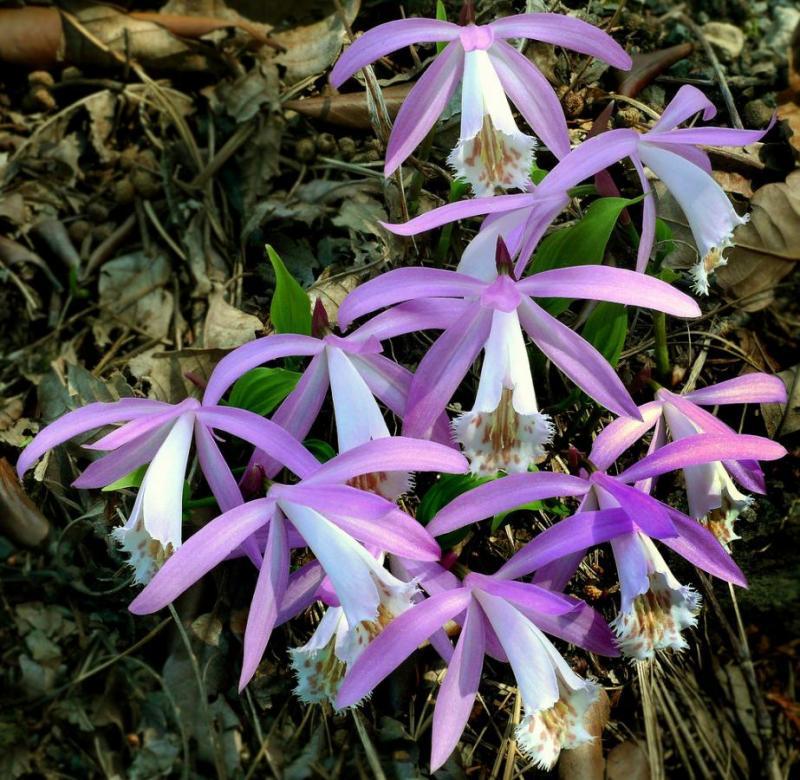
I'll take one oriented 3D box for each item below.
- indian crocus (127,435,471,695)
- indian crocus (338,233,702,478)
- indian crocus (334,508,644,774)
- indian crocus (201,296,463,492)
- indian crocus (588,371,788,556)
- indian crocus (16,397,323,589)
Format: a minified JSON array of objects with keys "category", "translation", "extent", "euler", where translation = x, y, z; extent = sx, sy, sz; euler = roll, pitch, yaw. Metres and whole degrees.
[{"category":"indian crocus","translation":[-0.215,0.332,1.946],"extent":[0.582,0.447,0.459],"euler":[18,42,5]},{"category":"indian crocus","translation":[0.252,-0.094,2.055],"extent":[0.726,0.371,0.496],"euler":[-16,60,-18]},{"category":"indian crocus","translation":[0.057,0.593,1.941],"extent":[0.581,0.443,0.299],"euler":[-30,32,-5]},{"category":"indian crocus","translation":[-0.199,-0.061,2.109],"extent":[0.599,0.283,0.507],"euler":[15,40,-45]},{"category":"indian crocus","translation":[0.711,0.141,2.222],"extent":[0.433,0.267,0.464],"euler":[16,63,16]},{"category":"indian crocus","translation":[-0.532,0.136,2.014],"extent":[0.571,0.333,0.450],"euler":[11,49,0]}]
